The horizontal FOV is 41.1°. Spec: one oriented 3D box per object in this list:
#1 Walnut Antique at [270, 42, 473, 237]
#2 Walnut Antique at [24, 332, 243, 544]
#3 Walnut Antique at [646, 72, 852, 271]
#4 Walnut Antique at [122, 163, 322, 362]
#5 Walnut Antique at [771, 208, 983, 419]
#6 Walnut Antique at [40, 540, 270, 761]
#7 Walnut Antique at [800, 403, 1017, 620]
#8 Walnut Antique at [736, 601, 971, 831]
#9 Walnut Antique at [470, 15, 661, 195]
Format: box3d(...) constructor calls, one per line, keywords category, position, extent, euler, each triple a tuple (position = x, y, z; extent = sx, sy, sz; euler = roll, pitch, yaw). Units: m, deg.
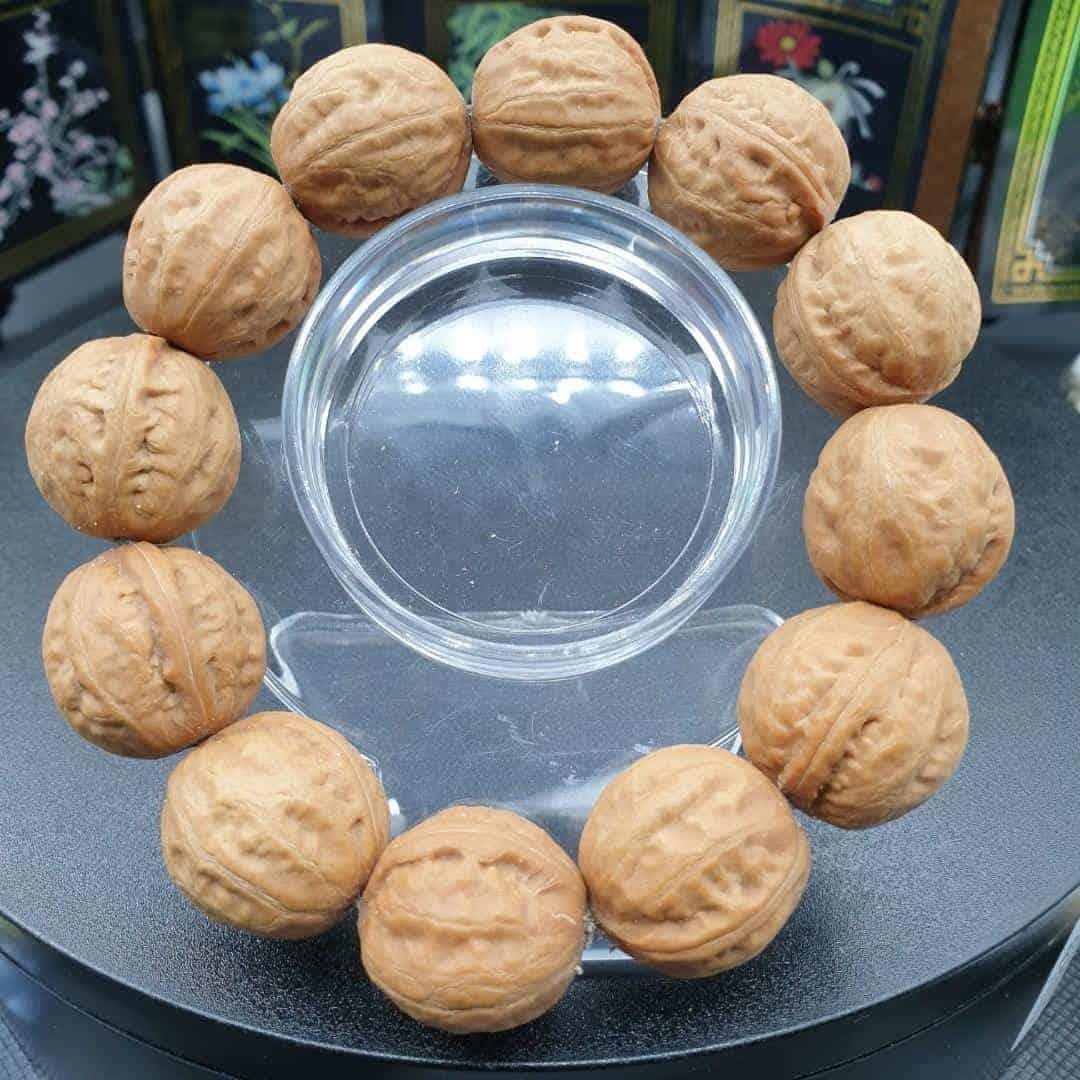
box3d(category="Walnut Antique", position=(-0.100, -0.245, 0.860), extent=(0.118, 0.109, 0.124), euler=(-7, 74, -7))
box3d(category="Walnut Antique", position=(-0.219, -0.053, 0.770), extent=(0.090, 0.090, 0.127), euler=(2, 77, -7))
box3d(category="Walnut Antique", position=(0.123, -0.212, 0.879), extent=(0.106, 0.086, 0.104), euler=(-35, 82, -21))
box3d(category="Walnut Antique", position=(-0.183, -0.149, 0.849), extent=(0.104, 0.065, 0.100), euler=(-38, 90, -7))
box3d(category="Walnut Antique", position=(0.183, -0.124, 0.804), extent=(0.091, 0.086, 0.125), euler=(-6, 71, -9))
box3d(category="Walnut Antique", position=(-0.200, 0.070, 0.754), extent=(0.099, 0.067, 0.118), euler=(-31, 88, -12))
box3d(category="Walnut Antique", position=(0.197, -0.016, 0.768), extent=(0.094, 0.085, 0.124), euler=(-18, 75, 9))
box3d(category="Walnut Antique", position=(0.167, 0.089, 0.767), extent=(0.120, 0.075, 0.101), euler=(4, 48, 4))
box3d(category="Walnut Antique", position=(0.015, -0.255, 0.875), extent=(0.115, 0.112, 0.121), euler=(2, 107, 3))
